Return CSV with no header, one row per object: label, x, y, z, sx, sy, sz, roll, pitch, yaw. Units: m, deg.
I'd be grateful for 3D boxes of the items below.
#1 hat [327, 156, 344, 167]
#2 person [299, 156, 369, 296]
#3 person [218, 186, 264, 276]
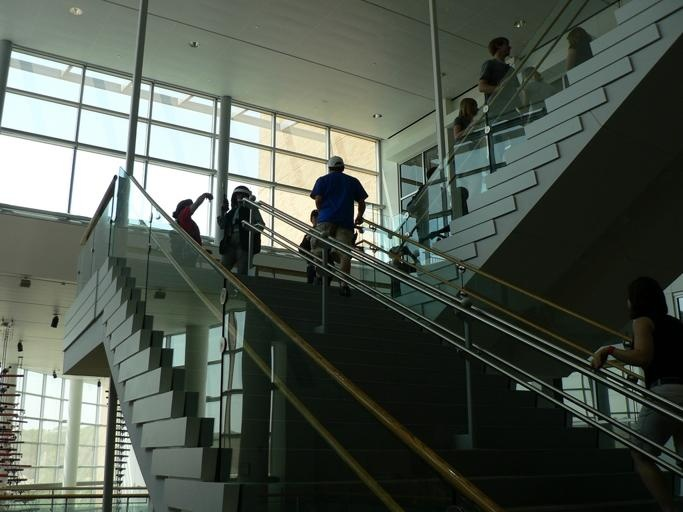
hat,-0.080,-1.138,7.424,0.195,0.173,0.323,7,12,-6
person,-0.046,-0.499,7.148,0.638,1.915,1.453,-1,-14,4
person,-1.285,-0.360,7.789,0.549,1.442,1.188,3,-14,-12
